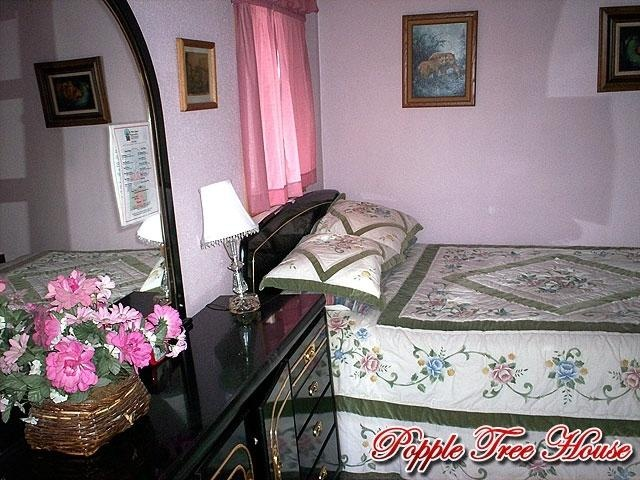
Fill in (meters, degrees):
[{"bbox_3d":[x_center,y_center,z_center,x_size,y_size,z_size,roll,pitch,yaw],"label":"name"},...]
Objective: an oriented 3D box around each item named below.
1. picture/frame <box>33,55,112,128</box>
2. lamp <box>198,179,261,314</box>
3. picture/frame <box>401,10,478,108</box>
[{"bbox_3d":[-0.792,-0.466,1.406,0.027,0.249,0.256,0,10,31],"label":"picture/frame"},{"bbox_3d":[-0.411,0.045,2.090,0.266,0.599,0.256,-17,12,-29],"label":"lamp"},{"bbox_3d":[1.036,-1.563,3.776,0.775,0.963,0.036,1,6,17],"label":"picture/frame"}]
